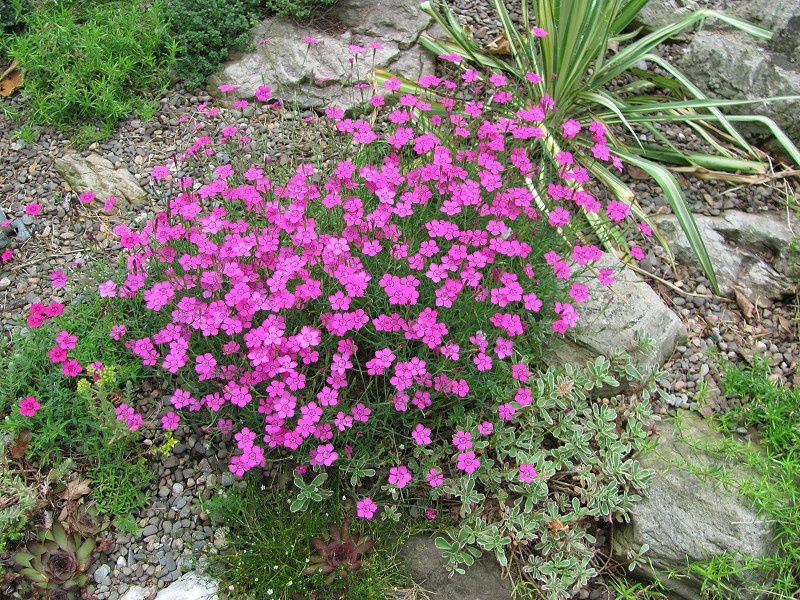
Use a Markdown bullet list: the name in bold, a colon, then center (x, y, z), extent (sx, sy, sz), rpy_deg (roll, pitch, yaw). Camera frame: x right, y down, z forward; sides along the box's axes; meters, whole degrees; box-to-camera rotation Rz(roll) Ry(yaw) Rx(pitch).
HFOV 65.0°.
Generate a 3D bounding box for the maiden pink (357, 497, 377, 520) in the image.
- **maiden pink**: center (-0.165, 1.068, 3.205), extent (0.105, 0.270, 0.103), rpy_deg (0, 71, 4)

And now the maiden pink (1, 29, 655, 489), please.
- **maiden pink**: center (-0.438, -0.185, 3.617), extent (2.456, 1.430, 1.119), rpy_deg (0, 43, 1)
